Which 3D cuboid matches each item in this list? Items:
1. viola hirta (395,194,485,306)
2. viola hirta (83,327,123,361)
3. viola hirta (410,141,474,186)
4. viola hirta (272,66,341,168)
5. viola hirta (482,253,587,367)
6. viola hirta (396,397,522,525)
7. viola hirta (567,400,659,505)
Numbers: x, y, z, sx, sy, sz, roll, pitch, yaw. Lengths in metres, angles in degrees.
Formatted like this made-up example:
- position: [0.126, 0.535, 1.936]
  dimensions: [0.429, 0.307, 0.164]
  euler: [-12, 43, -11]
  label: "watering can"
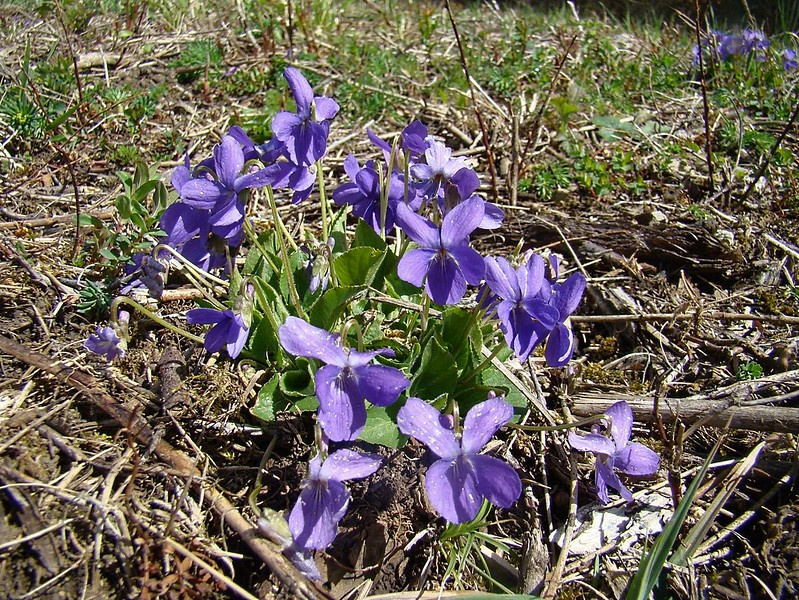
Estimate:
- position: [0.179, -0.187, 2.881]
  dimensions: [0.354, 0.441, 0.175]
  euler: [-2, -3, 4]
  label: "viola hirta"
- position: [-1.203, 0.150, 2.823]
  dimensions: [0.136, 0.157, 0.065]
  euler: [16, 35, 7]
  label: "viola hirta"
- position: [0.200, -0.641, 3.265]
  dimensions: [0.300, 0.143, 0.326]
  euler: [5, 2, -13]
  label: "viola hirta"
- position: [-0.404, -0.790, 2.955]
  dimensions: [0.290, 0.159, 0.417]
  euler: [-11, -9, -1]
  label: "viola hirta"
- position: [0.546, 0.014, 2.907]
  dimensions: [0.433, 0.177, 0.434]
  euler: [46, 40, -2]
  label: "viola hirta"
- position: [0.232, 0.581, 2.596]
  dimensions: [0.426, 0.393, 0.262]
  euler: [-10, 32, -2]
  label: "viola hirta"
- position: [0.931, 0.641, 2.935]
  dimensions: [0.337, 0.351, 0.399]
  euler: [-9, -6, -3]
  label: "viola hirta"
